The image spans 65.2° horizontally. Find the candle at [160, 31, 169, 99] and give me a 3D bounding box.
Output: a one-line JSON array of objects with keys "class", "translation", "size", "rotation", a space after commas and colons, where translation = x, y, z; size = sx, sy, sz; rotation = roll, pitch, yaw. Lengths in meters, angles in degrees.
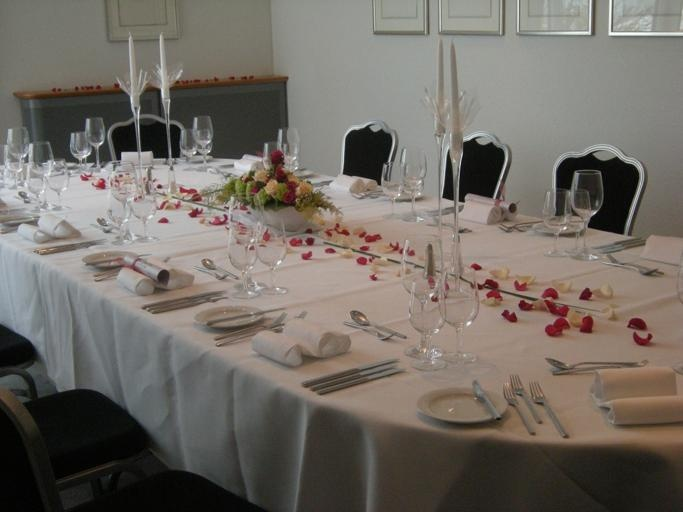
[{"class": "candle", "translation": [-1.095, -1.159, 3.292], "size": [0.057, 0.384, 0.484], "rotation": [-3, 15, -18]}]

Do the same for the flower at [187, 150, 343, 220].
[{"class": "flower", "translation": [-0.280, -0.287, 2.309], "size": [0.397, 0.217, 0.441], "rotation": [0, 9, -21]}]

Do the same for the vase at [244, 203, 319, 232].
[{"class": "vase", "translation": [-0.216, -0.179, 2.341], "size": [0.156, 0.066, 0.146], "rotation": [17, 20, 38]}]

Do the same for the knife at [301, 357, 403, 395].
[{"class": "knife", "translation": [0.032, 0.279, 1.250], "size": [0.280, 0.016, 0.085], "rotation": [-12, 18, -32]}]

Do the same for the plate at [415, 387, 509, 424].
[{"class": "plate", "translation": [0.234, 0.313, 1.109], "size": [0.153, 0.032, 0.113], "rotation": [2, 15, 0]}]

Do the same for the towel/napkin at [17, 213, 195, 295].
[{"class": "towel/napkin", "translation": [-0.953, 0.000, 2.137], "size": [0.561, 0.069, 0.152], "rotation": [25, 33, 35]}]
